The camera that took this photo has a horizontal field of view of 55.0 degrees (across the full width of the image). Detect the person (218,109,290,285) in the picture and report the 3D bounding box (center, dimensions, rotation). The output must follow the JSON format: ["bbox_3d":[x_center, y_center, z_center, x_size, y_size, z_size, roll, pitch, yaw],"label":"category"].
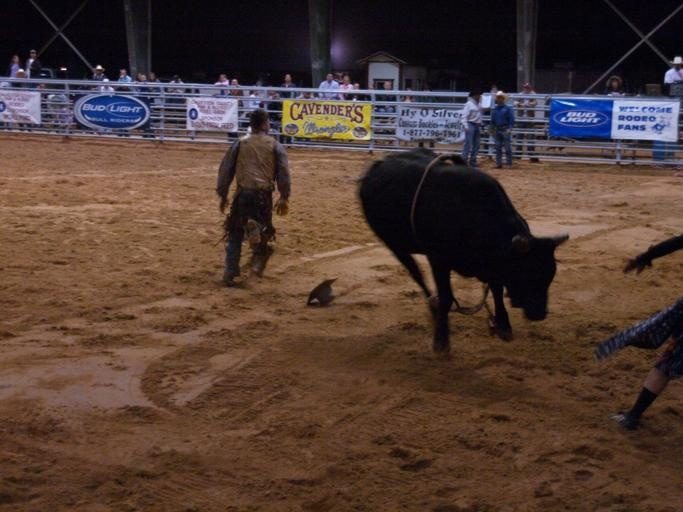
[{"bbox_3d":[-0.919,-0.622,6.836,0.820,1.794,0.538,-4,15,-23],"label":"person"}]

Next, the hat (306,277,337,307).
[{"bbox_3d":[-0.170,0.337,6.281,0.316,0.273,0.106,-30,47,-25],"label":"hat"}]

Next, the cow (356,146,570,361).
[{"bbox_3d":[0.850,-0.011,5.201,0.745,1.579,1.434,-10,16,-39],"label":"cow"}]
